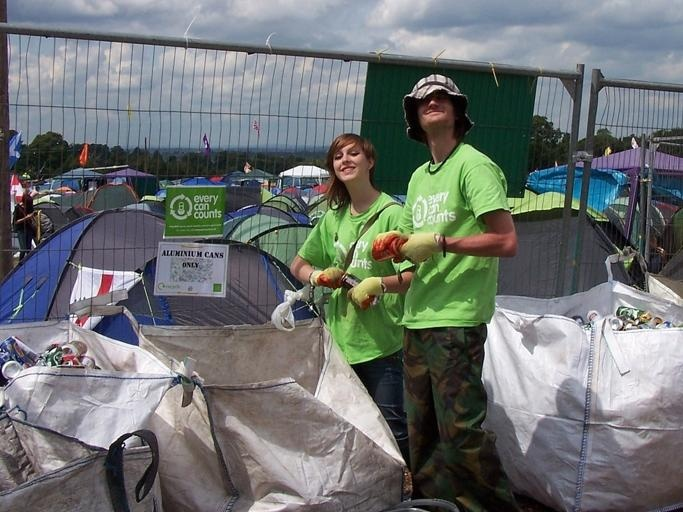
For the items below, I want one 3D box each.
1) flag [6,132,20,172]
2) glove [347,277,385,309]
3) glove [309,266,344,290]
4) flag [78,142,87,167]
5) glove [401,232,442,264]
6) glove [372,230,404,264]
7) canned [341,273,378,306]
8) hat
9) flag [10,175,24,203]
[{"bbox_3d":[-2.087,-0.676,3.671,0.059,0.237,0.197,-4,7,-38],"label":"flag"},{"bbox_3d":[0.131,0.190,3.114,0.177,0.079,0.147,-33,29,41],"label":"glove"},{"bbox_3d":[-0.073,0.153,3.331,0.128,0.075,0.135,-11,-9,23],"label":"glove"},{"bbox_3d":[-1.647,-0.645,3.685,0.072,0.144,0.018,-2,5,-14],"label":"flag"},{"bbox_3d":[0.400,-0.044,2.858,0.203,0.141,0.149,0,6,2],"label":"glove"},{"bbox_3d":[0.239,-0.047,2.936,0.131,0.070,0.144,-22,10,21],"label":"glove"},{"bbox_3d":[0.094,0.204,3.190,0.139,0.223,0.080,-42,-1,4],"label":"canned"},{"bbox_3d":[0.513,-0.838,3.193,0.289,0.279,0.464,-1,-29,10],"label":"hat"},{"bbox_3d":[-3.206,-0.638,5.684,0.078,0.207,4.596,-3,7,-29],"label":"flag"}]
